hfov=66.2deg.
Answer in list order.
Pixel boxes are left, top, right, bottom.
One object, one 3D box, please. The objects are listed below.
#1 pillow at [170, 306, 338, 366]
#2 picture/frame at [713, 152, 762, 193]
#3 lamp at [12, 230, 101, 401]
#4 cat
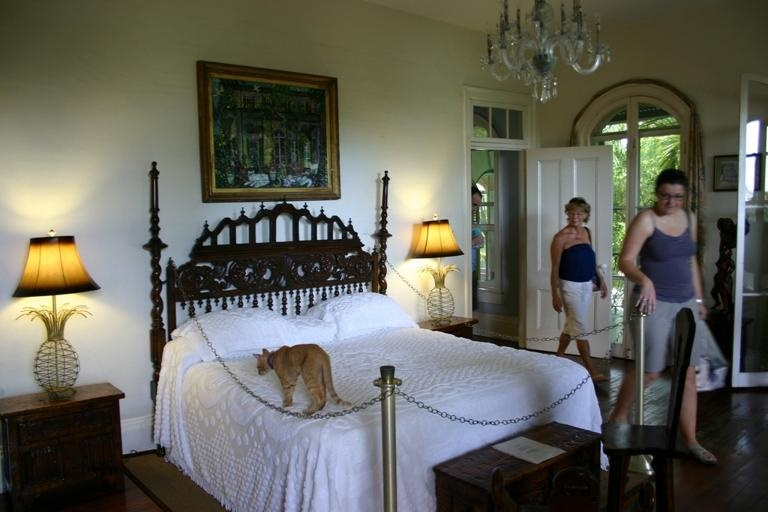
[{"bbox_3d":[-1.099,0.657,5.234,0.903,0.226,0.610,-6,11,-30],"label":"pillow"},{"bbox_3d":[3.852,-0.902,6.385,0.032,0.504,0.487,1,1,-32],"label":"picture/frame"},{"bbox_3d":[-2.663,0.456,4.859,0.600,1.330,0.433,-6,5,-33],"label":"lamp"},{"bbox_3d":[-0.608,0.836,4.320,0.390,0.413,0.874,-7,5,-35],"label":"cat"}]
